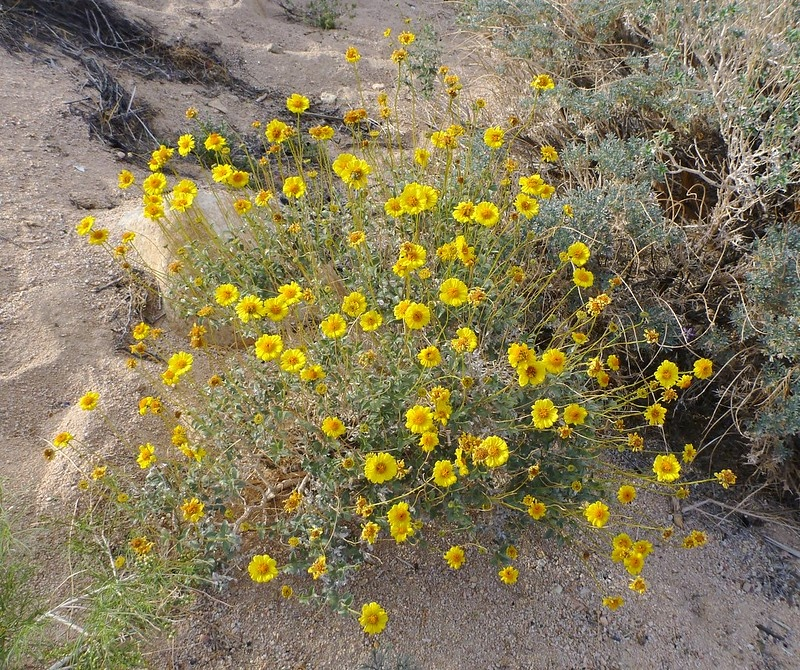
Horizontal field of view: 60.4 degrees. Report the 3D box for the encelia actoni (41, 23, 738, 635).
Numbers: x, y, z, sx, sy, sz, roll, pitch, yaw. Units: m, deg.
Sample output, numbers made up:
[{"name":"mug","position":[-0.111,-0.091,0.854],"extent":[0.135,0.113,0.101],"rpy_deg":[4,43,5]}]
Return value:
[{"name":"encelia actoni","position":[-0.181,0.273,5.044],"extent":[3.452,2.095,3.846],"rpy_deg":[6,80,-3]}]
